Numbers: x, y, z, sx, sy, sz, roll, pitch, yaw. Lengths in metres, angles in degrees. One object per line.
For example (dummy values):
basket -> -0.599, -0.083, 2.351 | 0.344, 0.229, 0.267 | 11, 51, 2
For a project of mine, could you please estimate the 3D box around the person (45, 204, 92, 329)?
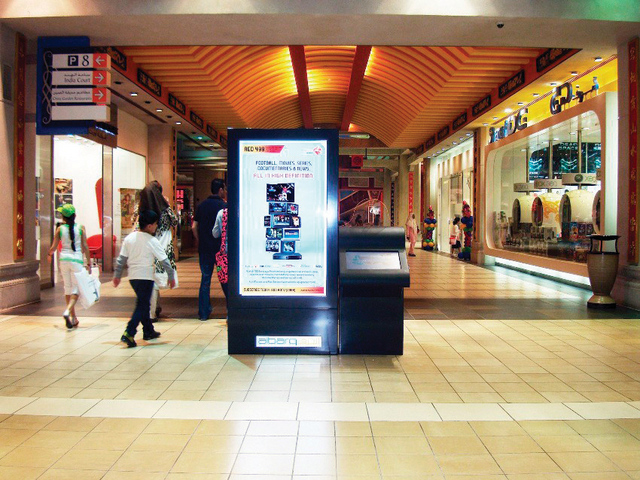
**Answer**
person -> -3.283, 0.321, 6.602 | 0.391, 1.587, 0.532 | -2, 2, -34

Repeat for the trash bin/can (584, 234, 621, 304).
trash bin/can -> 4.380, 0.452, 7.727 | 0.663, 1.095, 0.398 | -1, 2, -21

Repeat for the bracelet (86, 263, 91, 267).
bracelet -> -3.043, 0.332, 6.583 | 0.060, 0.053, 0.014 | 1, 10, -2

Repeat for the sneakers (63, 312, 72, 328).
sneakers -> -3.245, 1.029, 6.415 | 0.083, 0.235, 0.098 | 1, 7, -1

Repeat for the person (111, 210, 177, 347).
person -> -2.058, 0.419, 5.827 | 0.650, 1.534, 0.688 | -1, 2, -16

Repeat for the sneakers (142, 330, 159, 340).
sneakers -> -1.997, 1.125, 5.970 | 0.230, 0.100, 0.083 | -6, 5, -16

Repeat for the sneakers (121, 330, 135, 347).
sneakers -> -2.147, 1.115, 5.666 | 0.099, 0.105, 0.241 | 2, 0, 3

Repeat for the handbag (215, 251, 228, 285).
handbag -> -1.243, 0.356, 6.368 | 0.107, 0.410, 0.367 | -1, 2, -19
